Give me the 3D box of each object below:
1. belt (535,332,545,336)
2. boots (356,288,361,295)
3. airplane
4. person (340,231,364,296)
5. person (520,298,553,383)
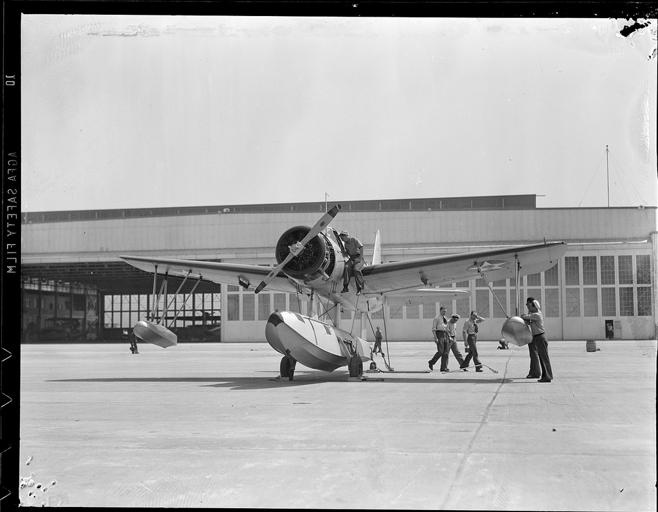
[{"bbox_3d":[4.252,1.574,20.331,0.349,0.049,0.043,1,-15,-41],"label":"belt"},{"bbox_3d":[0.637,0.760,21.734,0.137,0.074,0.140,-2,-15,11],"label":"boots"},{"bbox_3d":[0.465,0.933,21.901,8.322,3.324,5.892,-3,-6,-5],"label":"airplane"},{"bbox_3d":[0.489,0.135,21.472,0.487,1.279,0.812,-3,-6,2],"label":"person"},{"bbox_3d":[4.207,1.671,20.438,0.515,1.716,1.241,-4,-6,11],"label":"person"}]
